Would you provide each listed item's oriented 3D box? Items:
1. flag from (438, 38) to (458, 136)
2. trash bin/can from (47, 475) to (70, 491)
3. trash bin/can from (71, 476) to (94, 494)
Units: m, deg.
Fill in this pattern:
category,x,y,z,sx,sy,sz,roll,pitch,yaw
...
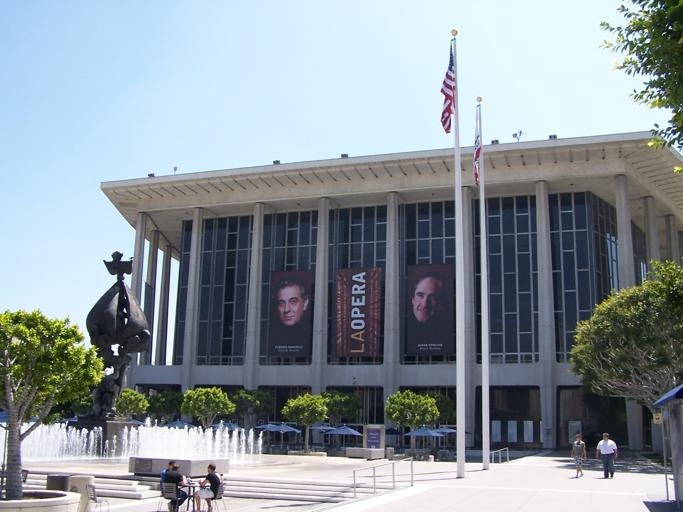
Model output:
category,x,y,z,sx,sy,sz,roll,pitch,yaw
flag,4.628,-7.392,29.048,0.791,4.920,1.810,-4,-18,10
trash bin/can,-9.512,7.547,22.306,0.486,0.515,1.047,14,-24,-38
trash bin/can,-8.660,7.508,21.935,0.905,0.579,0.335,-9,-20,22
